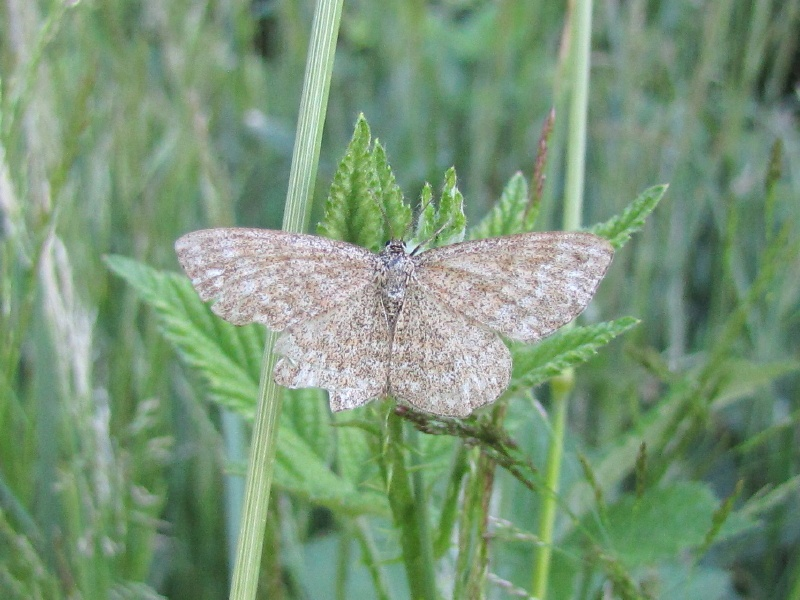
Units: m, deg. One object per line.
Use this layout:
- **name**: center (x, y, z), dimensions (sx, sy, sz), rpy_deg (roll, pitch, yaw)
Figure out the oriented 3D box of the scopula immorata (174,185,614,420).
- **scopula immorata**: center (-0.010, 0.003, 0.726), dimensions (0.284, 0.055, 0.177), rpy_deg (3, 87, 3)
